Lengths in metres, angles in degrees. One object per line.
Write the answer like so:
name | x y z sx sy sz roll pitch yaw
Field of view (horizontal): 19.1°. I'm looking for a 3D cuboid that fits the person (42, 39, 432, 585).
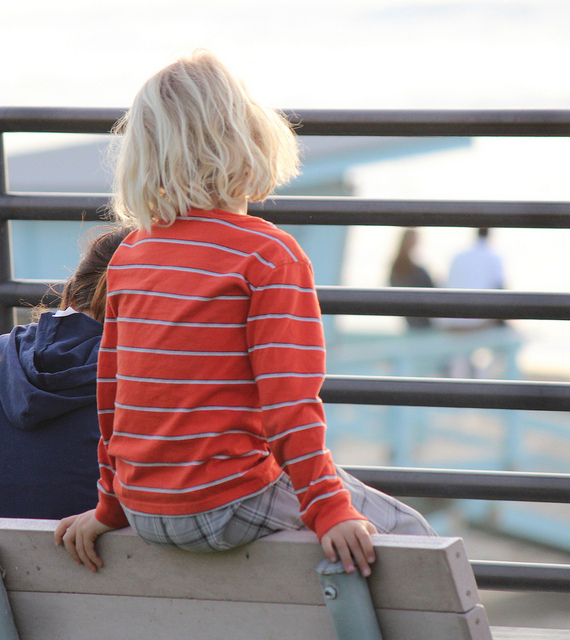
person | -0.125 0.009 4.381 0.889 1.268 0.818 6 25 8
